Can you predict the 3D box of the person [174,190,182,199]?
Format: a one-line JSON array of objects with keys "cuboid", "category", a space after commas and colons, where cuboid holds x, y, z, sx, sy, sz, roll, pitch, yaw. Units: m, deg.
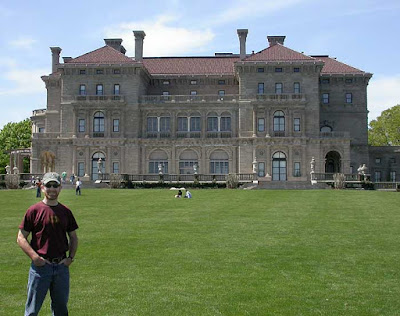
[{"cuboid": [-1.698, 2.752, 54.377, 0.551, 0.793, 0.619, 1, -6, 19], "category": "person"}]
